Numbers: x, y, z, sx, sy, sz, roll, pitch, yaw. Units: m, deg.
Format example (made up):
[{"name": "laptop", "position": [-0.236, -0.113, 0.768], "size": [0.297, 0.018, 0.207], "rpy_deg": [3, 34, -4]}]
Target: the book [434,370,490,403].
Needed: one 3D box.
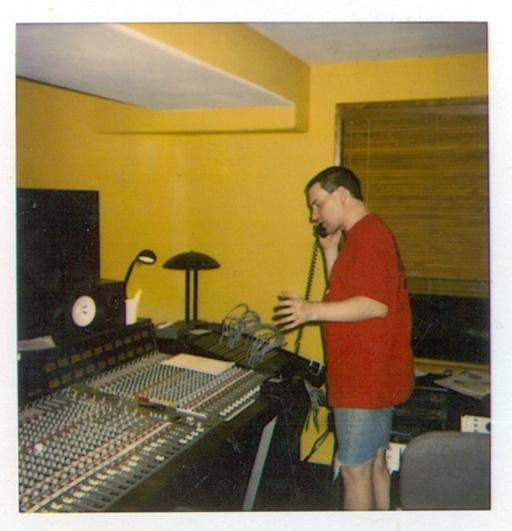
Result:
[{"name": "book", "position": [0.722, 0.406, 1.709], "size": [0.231, 0.137, 0.063], "rpy_deg": [3, -15, 18]}]

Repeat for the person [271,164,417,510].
[{"name": "person", "position": [0.294, 0.246, 1.625], "size": [0.475, 1.138, 0.568], "rpy_deg": [2, 5, 2]}]

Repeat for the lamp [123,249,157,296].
[{"name": "lamp", "position": [-0.409, 0.023, 1.746], "size": [0.138, 0.161, 0.078], "rpy_deg": [-2, 6, -35]}]

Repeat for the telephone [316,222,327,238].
[{"name": "telephone", "position": [0.242, -0.127, 1.821], "size": [0.034, 0.041, 0.015], "rpy_deg": [-27, 26, -18]}]

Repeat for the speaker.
[{"name": "speaker", "position": [-0.503, 0.134, 1.541], "size": [0.066, 0.163, 0.199], "rpy_deg": [-2, -2, 24]}]
